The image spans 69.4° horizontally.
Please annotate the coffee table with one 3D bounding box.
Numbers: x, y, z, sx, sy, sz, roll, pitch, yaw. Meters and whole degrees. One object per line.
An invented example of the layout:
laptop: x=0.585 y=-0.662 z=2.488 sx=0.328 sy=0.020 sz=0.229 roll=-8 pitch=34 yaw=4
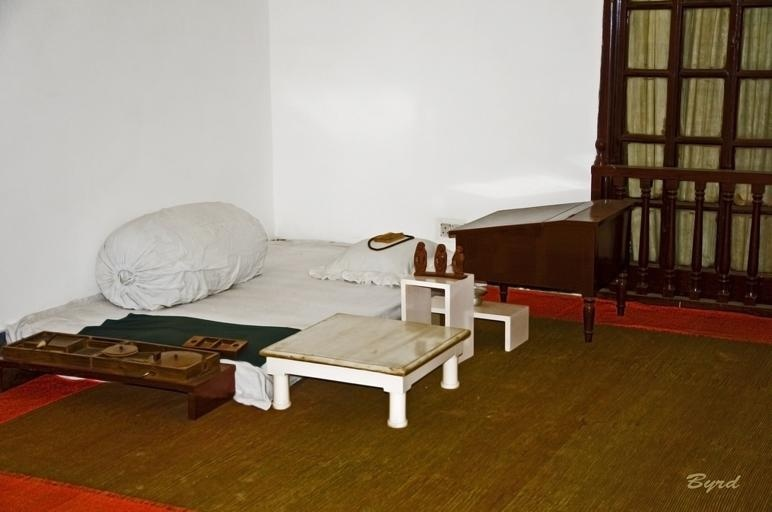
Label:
coffee table: x=0.297 y=0.374 z=3.269 sx=0.457 sy=0.629 sz=0.366 roll=11 pitch=24 yaw=31
